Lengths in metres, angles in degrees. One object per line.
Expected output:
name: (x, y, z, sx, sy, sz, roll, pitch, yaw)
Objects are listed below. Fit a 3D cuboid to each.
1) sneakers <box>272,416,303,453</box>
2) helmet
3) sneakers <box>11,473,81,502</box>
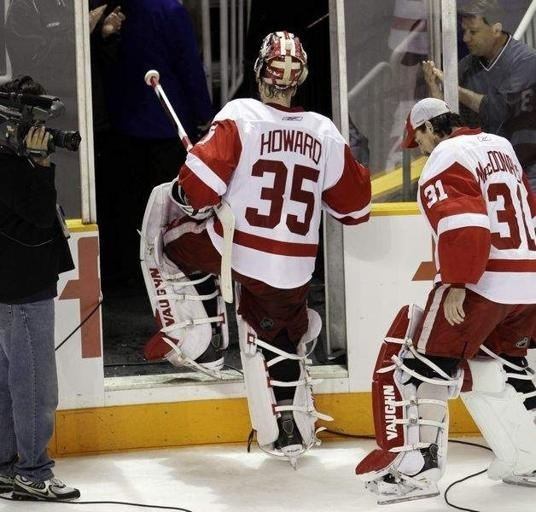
sneakers: (0.092, 0.797, 4.207, 0.125, 0.154, 0.066, -9, -3, -14)
helmet: (0.039, -0.861, 4.223, 0.213, 0.239, 0.277, -1, 44, -5)
sneakers: (-0.906, 0.967, 3.959, 0.302, 0.135, 0.107, 1, -1, -4)
